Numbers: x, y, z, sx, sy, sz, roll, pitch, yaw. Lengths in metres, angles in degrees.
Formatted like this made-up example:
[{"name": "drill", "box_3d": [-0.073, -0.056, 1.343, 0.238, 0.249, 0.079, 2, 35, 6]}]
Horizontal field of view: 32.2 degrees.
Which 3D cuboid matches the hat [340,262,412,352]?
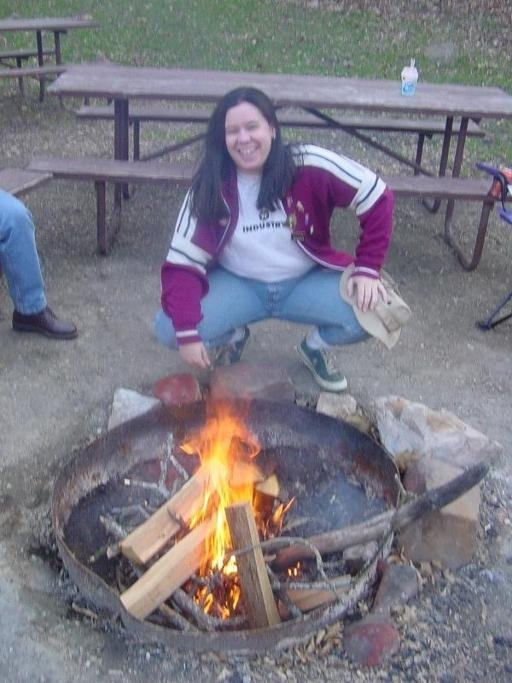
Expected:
[{"name": "hat", "box_3d": [0.505, -0.133, 3.693, 0.258, 0.380, 0.127, -39, 19, -27]}]
